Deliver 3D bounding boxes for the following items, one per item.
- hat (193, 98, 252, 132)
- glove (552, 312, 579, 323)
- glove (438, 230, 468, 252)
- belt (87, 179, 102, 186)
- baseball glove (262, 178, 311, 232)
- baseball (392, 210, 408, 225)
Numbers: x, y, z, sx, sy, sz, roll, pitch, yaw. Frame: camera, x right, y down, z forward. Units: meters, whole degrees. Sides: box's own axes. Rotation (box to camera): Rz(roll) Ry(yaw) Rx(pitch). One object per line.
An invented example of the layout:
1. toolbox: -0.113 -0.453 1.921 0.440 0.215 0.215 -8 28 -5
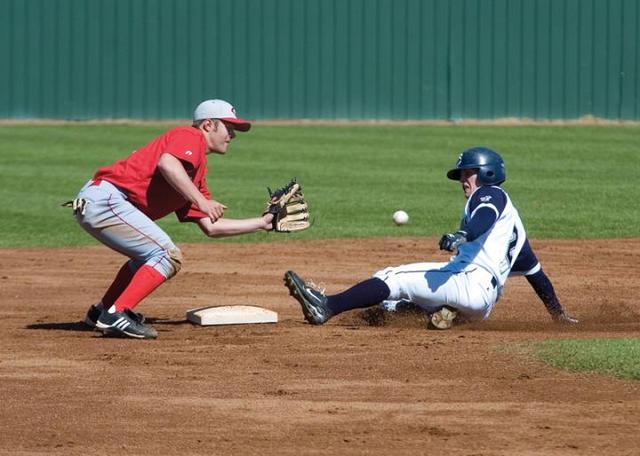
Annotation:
1. hat: -1.383 -1.560 17.216 0.732 0.332 0.438 2 8 -3
2. glove: 3.488 1.305 17.542 0.432 0.159 0.137 5 11 7
3. glove: 1.753 0.186 16.358 0.397 0.152 0.238 -22 -1 -45
4. belt: -3.114 -0.618 16.929 0.154 0.071 0.115 -3 -7 28
5. baseball glove: -0.511 -0.325 17.360 0.581 0.743 0.340 4 8 -27
6. baseball: 1.569 -0.151 24.186 0.292 0.261 0.296 -29 -35 34
